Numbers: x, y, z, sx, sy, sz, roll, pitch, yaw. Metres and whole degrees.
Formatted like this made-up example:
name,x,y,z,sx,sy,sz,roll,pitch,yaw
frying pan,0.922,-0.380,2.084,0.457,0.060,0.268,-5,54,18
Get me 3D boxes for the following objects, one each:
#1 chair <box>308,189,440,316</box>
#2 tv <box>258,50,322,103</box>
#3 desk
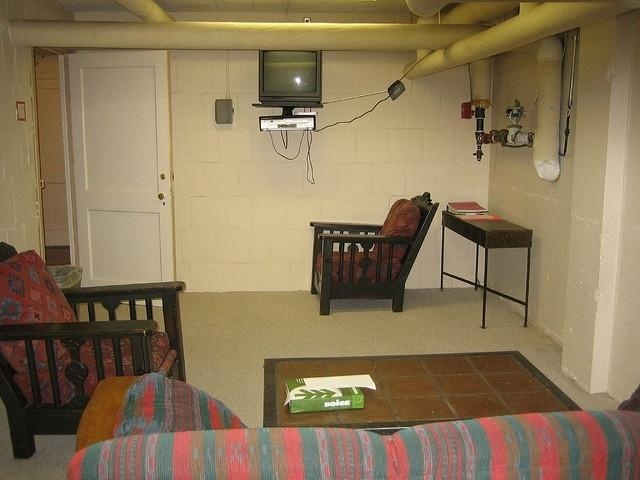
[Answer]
name,x,y,z,sx,sy,sz,roll,pitch,yaw
chair,0.373,0.017,5.075,1.208,1.258,0.901,1,7,-2
tv,-0.252,-1.438,4.592,0.682,0.533,0.377,0,2,1
desk,1.510,0.258,4.731,0.346,0.713,0.924,-1,13,-2
